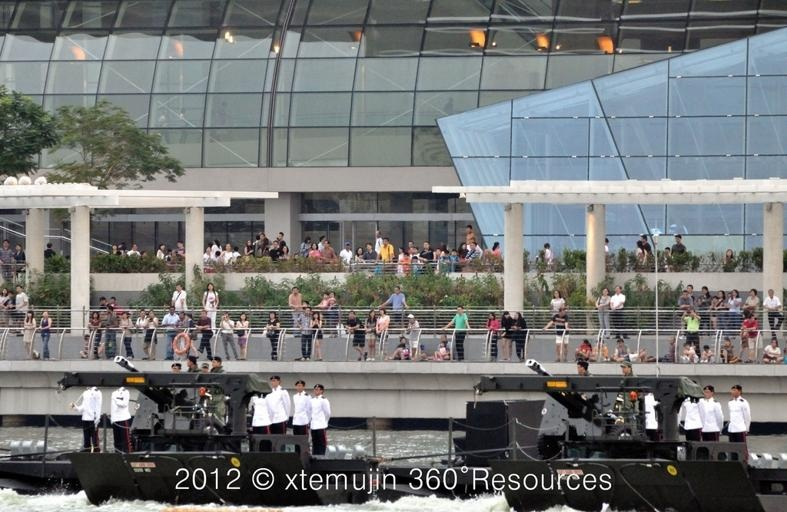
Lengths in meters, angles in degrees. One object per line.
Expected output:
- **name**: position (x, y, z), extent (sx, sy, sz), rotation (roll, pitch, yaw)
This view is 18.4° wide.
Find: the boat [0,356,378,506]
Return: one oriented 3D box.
- **boat**: position (-8.224, 8.457, 104.707), extent (10.876, 3.870, 8.648), rotation (0, -3, 5)
